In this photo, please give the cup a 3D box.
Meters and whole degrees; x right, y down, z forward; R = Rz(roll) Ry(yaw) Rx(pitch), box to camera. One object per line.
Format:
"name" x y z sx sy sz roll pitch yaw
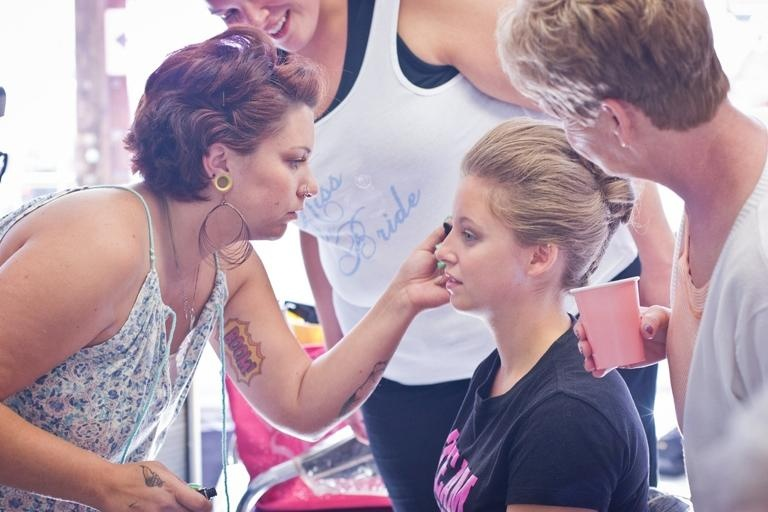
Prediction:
"cup" 0.506 0.144 2.031 0.189 0.211 0.188 -13 -13 -3
